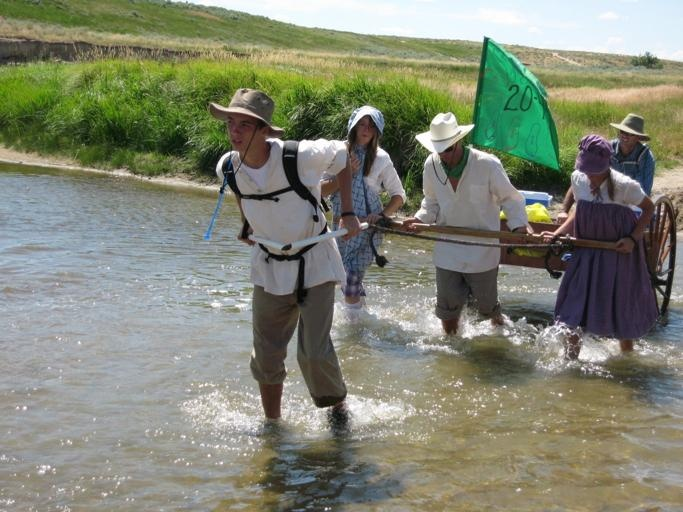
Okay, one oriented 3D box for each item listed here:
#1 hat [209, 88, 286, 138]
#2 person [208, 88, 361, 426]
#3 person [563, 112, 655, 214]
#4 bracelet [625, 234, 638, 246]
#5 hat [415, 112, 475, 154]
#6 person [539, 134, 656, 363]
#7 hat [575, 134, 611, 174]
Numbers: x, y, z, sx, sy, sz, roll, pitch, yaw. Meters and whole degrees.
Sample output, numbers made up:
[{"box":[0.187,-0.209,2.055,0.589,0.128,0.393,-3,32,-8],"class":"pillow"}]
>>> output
[{"box":[-0.684,-1.100,6.156,0.563,0.353,0.336,0,13,-8],"class":"hat"},{"box":[-0.431,0.119,6.518,1.122,2.693,1.079,-2,2,-10],"class":"person"},{"box":[3.071,-0.916,9.152,1.237,1.386,0.756,-5,17,-43],"class":"person"},{"box":[2.671,-0.144,7.429,0.083,0.024,0.091,26,-10,39],"class":"bracelet"},{"box":[1.005,-1.202,7.591,0.460,0.205,0.471,-7,33,34],"class":"hat"},{"box":[2.513,-0.074,7.737,0.971,2.144,0.817,-2,4,-37],"class":"person"},{"box":[2.287,-0.918,7.337,0.298,0.374,0.181,2,11,21],"class":"hat"}]
